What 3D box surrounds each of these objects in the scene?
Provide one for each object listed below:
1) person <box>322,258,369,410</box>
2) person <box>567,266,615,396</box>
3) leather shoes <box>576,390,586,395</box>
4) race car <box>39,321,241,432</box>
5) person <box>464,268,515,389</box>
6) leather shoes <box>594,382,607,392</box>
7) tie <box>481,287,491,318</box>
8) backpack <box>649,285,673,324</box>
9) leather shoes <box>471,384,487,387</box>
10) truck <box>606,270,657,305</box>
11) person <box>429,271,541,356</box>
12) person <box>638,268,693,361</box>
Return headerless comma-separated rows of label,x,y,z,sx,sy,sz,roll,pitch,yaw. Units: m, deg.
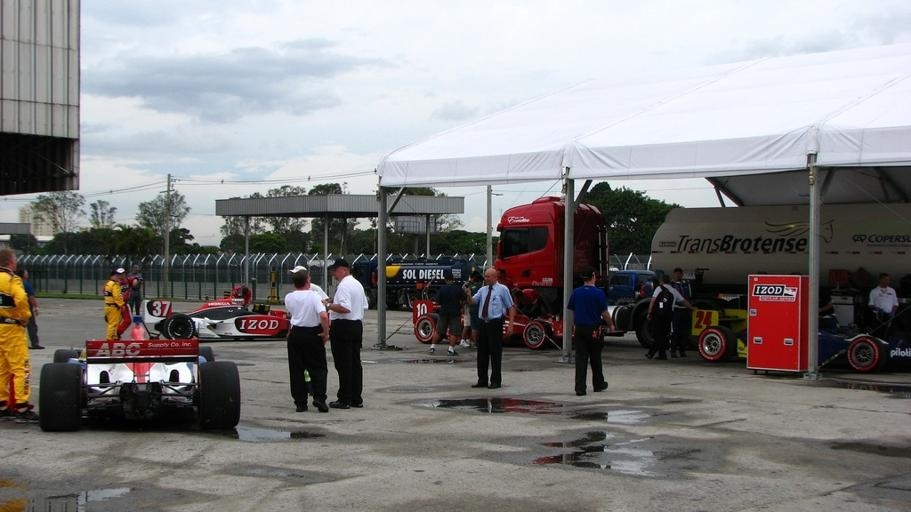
person,-2.511,1.910,22.969,1.255,2.956,0.956,0,-2,-14
person,3.363,1.876,24.577,1.246,2.830,1.219,0,-1,13
leather shoes,3.029,3.289,23.904,0.213,0.121,0.136,-1,-2,5
race car,-6.525,2.721,20.637,3.929,1.911,0.760,-1,-2,-4
person,0.924,1.806,25.132,1.003,2.976,1.220,-2,-2,1
leather shoes,3.574,3.222,24.327,0.335,0.146,0.237,-15,-12,39
tie,0.822,1.170,24.828,0.287,0.798,0.202,-1,-2,-25
backpack,6.225,1.372,29.965,0.725,1.045,0.440,-2,-2,9
leather shoes,0.604,3.229,24.757,0.427,0.081,0.158,-2,-2,18
truck,8.287,1.472,46.000,1.671,1.408,2.673,0,2,-34
person,1.000,1.787,29.825,1.415,2.633,1.032,0,0,-44
person,6.331,1.799,30.337,1.120,2.638,1.051,0,0,-22
